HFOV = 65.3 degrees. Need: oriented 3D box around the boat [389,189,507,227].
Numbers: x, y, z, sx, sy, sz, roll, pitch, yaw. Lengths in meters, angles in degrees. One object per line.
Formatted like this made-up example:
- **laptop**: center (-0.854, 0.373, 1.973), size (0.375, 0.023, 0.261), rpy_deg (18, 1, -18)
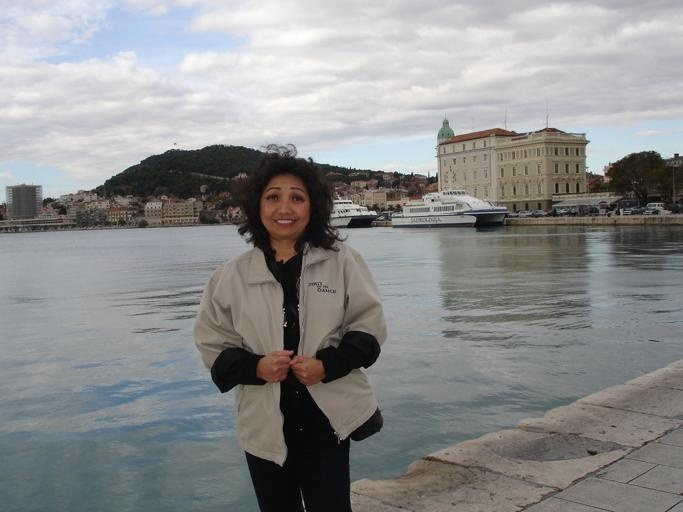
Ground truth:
- **boat**: center (16.988, -7.456, 89.794), size (6.244, 5.309, 23.753), rpy_deg (-3, 1, -40)
